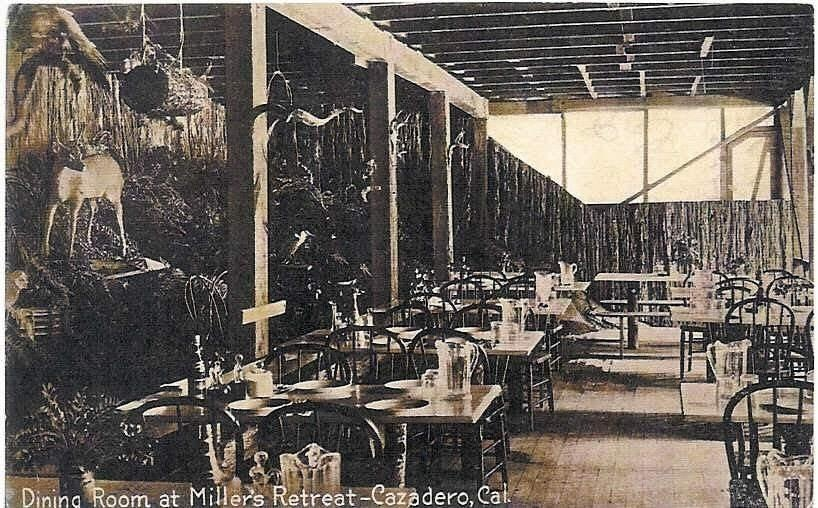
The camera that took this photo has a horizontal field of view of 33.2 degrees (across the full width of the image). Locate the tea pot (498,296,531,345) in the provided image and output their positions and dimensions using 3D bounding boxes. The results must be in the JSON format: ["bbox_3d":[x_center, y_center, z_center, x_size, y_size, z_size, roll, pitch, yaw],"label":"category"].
[{"bbox_3d":[0.687,0.412,9.073,0.316,0.295,0.254,1,-5,-1],"label":"tea pot"}]

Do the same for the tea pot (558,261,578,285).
[{"bbox_3d":[1.027,0.118,8.946,0.164,0.137,0.109,2,7,23],"label":"tea pot"}]

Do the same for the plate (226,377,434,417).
[{"bbox_3d":[-0.442,0.892,8.628,1.253,0.216,0.417,-2,-8,18],"label":"plate"}]

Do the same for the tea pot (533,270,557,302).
[{"bbox_3d":[0.875,0.216,8.835,0.210,0.241,0.155,0,3,4],"label":"tea pot"}]

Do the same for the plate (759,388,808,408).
[{"bbox_3d":[2.436,0.932,8.947,0.359,0.124,0.077,0,-1,0],"label":"plate"}]

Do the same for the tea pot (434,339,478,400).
[{"bbox_3d":[0.271,0.726,8.546,0.367,0.435,0.308,1,1,-1],"label":"tea pot"}]
